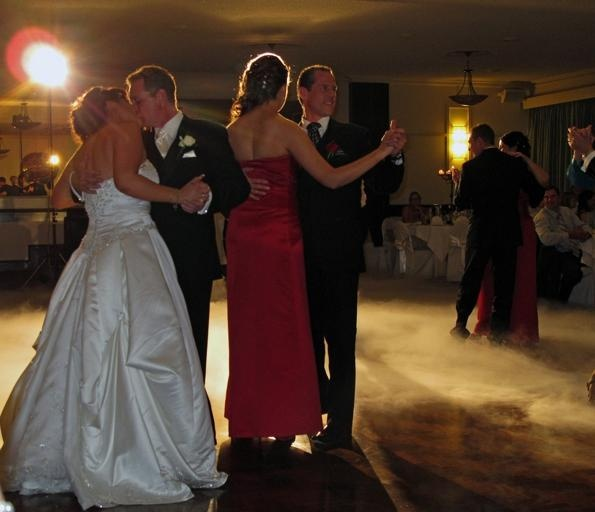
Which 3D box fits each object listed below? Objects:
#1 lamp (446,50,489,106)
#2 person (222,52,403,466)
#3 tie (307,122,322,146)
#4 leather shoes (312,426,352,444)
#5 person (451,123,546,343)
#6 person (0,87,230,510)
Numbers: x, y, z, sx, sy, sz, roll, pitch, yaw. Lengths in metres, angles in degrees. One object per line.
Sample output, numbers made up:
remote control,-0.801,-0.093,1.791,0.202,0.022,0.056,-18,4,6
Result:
lamp,3.011,-3.111,10.256,0.604,0.916,0.625,2,4,38
person,-0.078,0.093,2.608,0.527,1.469,0.223,0,6,2
tie,0.076,-0.586,2.801,0.064,0.111,0.026,-5,-2,19
leather shoes,0.164,0.893,2.919,0.201,0.094,0.081,3,-2,-6
person,1.633,-0.183,4.794,0.745,1.814,0.364,3,7,33
person,-0.771,0.216,2.404,0.923,1.524,0.506,-1,6,-3
